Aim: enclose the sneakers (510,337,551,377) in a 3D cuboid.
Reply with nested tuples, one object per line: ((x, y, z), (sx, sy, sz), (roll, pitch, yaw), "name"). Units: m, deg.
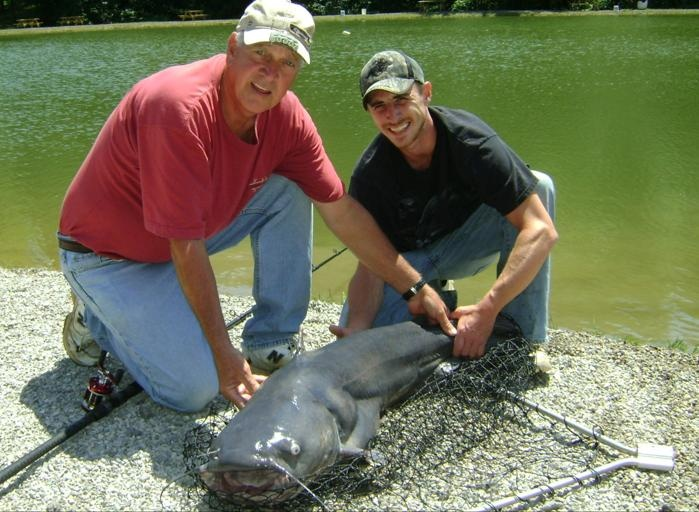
((0.935, 0.539, 4.332), (0.199, 0.111, 0.229), (4, 29, -30), "sneakers")

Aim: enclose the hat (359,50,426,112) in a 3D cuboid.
((0.224, -0.971, 4.349), (0.245, 0.176, 0.332), (-9, 12, 21), "hat")

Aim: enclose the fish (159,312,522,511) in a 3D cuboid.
((-0.078, 0.672, 3.907), (1.270, 0.329, 0.525), (-25, 9, -42), "fish")
